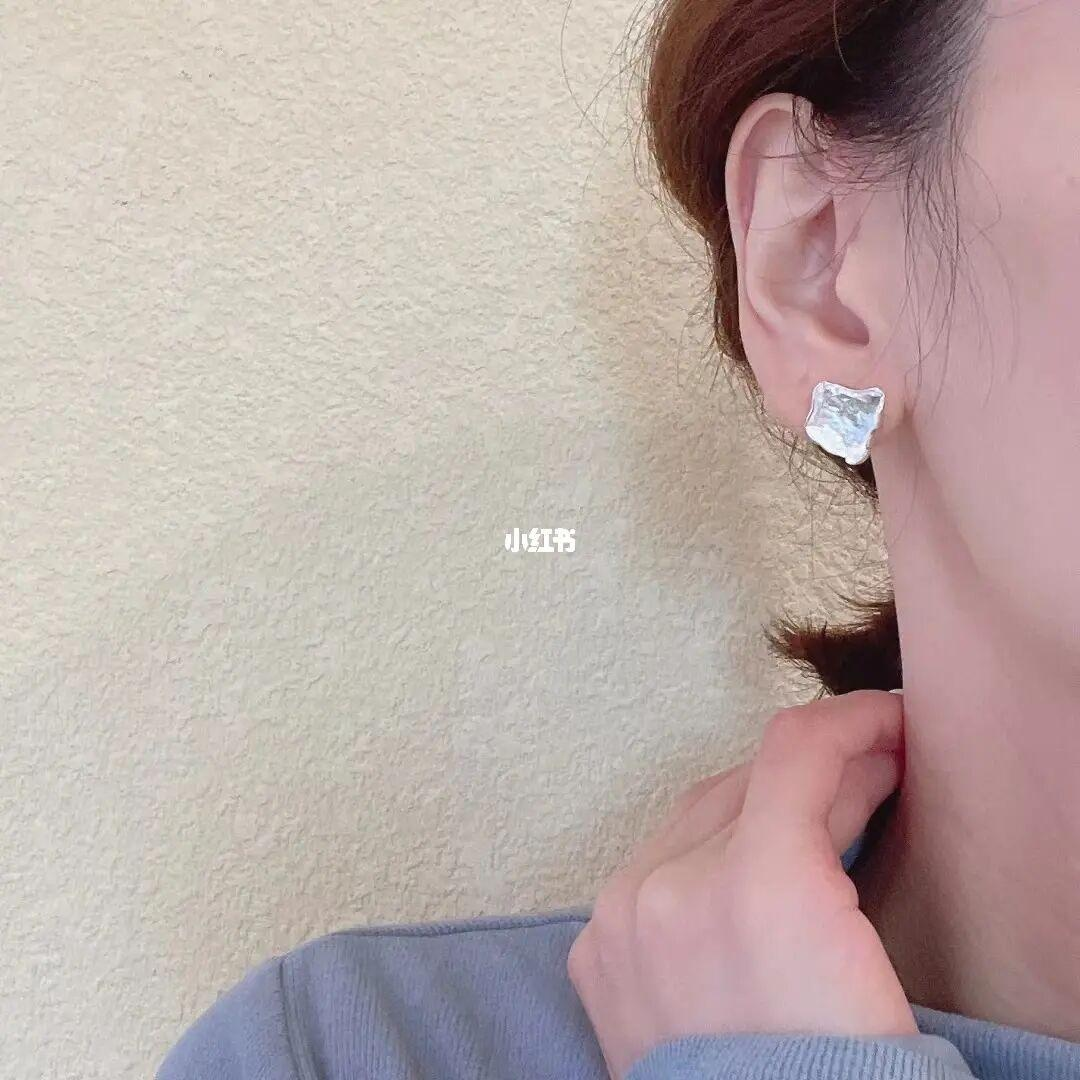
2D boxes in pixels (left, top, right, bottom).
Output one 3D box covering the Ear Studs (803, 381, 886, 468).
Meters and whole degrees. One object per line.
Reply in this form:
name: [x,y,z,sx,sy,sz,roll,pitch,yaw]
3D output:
Ear Studs: [0.185,-0.072,0.724,0.043,0.041,0.040,15,72,2]
